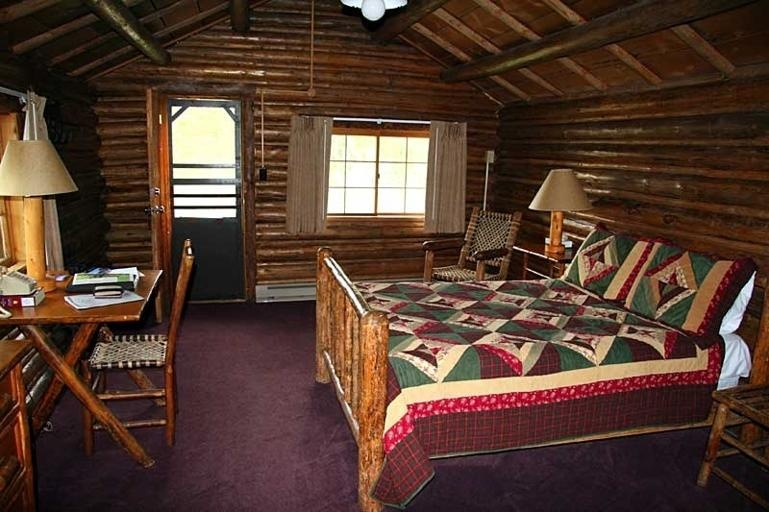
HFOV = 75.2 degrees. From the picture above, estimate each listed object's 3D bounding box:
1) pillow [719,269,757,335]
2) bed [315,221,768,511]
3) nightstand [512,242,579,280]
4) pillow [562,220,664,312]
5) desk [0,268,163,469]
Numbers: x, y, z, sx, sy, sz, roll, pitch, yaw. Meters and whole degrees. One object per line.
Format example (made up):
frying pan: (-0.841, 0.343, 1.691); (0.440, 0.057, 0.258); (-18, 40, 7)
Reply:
pillow: (2.902, 0.390, 4.127); (0.165, 0.506, 0.354); (23, 7, 26)
bed: (1.363, 0.795, 4.037); (3.211, 1.319, 2.138); (0, 21, -5)
nightstand: (2.005, 0.069, 6.307); (0.558, 0.535, 0.644); (-2, 17, -11)
pillow: (2.171, 0.102, 4.787); (0.212, 0.681, 0.748); (33, 5, -24)
desk: (-2.279, 0.865, 3.773); (1.085, 0.940, 1.379); (0, 23, -9)
